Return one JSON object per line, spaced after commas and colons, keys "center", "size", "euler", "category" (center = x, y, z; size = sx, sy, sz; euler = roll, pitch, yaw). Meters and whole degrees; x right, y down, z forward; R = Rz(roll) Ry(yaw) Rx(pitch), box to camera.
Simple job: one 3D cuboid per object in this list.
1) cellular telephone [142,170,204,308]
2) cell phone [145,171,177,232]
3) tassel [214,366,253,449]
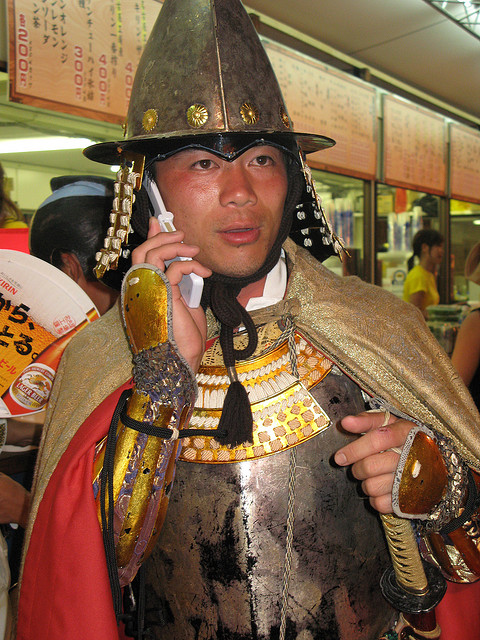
{"center": [-0.114, -0.139, 0.957], "size": [0.040, 0.257, 0.095], "euler": [-25, -16, -4], "category": "cellular telephone"}
{"center": [-0.147, -0.225, 1.018], "size": [0.030, 0.132, 0.037], "euler": [-23, -3, 7], "category": "cell phone"}
{"center": [-0.011, 0.152, 0.941], "size": [0.066, 0.138, 0.069], "euler": [1, 4, -3], "category": "tassel"}
